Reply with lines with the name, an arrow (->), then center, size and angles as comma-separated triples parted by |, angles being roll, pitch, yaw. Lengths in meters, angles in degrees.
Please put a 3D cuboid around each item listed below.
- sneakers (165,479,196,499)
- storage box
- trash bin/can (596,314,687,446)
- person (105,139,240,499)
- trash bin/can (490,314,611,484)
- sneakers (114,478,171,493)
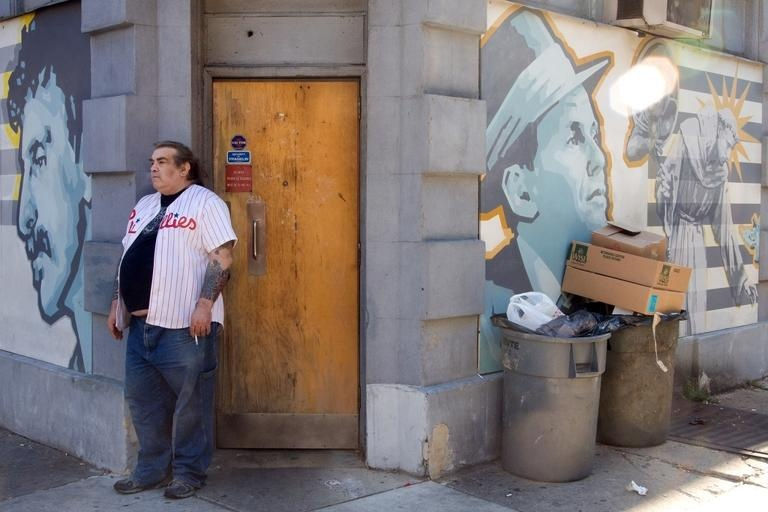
sneakers -> -1.778, 2.036, 7.501 | 0.229, 0.098, 0.133 | 7, -7, -33
storage box -> 2.369, 0.155, 8.367 | 0.873, 0.636, 0.906 | 17, 0, -43
trash bin/can -> 2.691, 1.178, 8.982 | 0.998, 1.498, 1.270 | 0, -2, 3
person -> -1.838, 0.559, 7.505 | 0.988, 2.989, 0.855 | 1, 14, 2
trash bin/can -> 1.647, 1.383, 8.423 | 1.141, 1.711, 1.369 | 1, 0, 29
sneakers -> -2.141, 2.043, 7.619 | 0.476, 0.205, 0.173 | 9, -8, -27
